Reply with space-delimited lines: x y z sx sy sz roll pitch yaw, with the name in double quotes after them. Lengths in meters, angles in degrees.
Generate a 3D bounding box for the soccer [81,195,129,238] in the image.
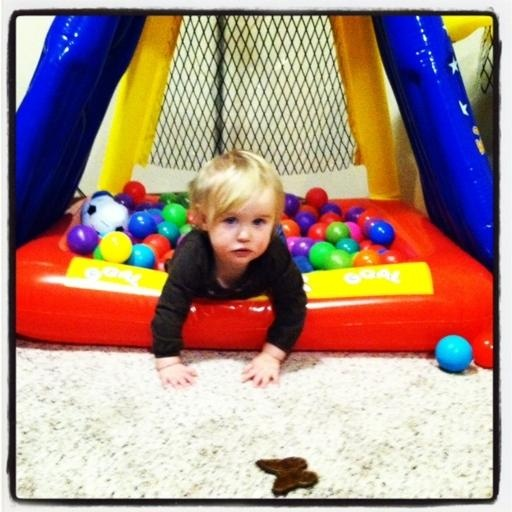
-0.565 -0.156 1.647 0.167 0.120 0.231 -12 19 -41 "soccer"
